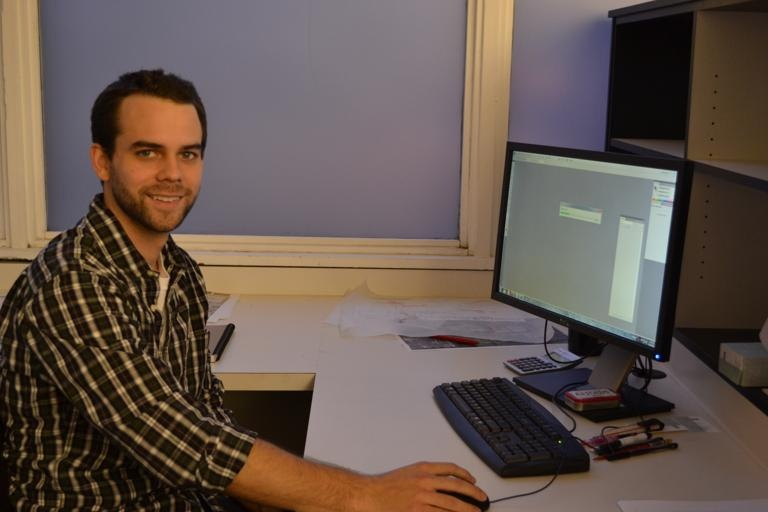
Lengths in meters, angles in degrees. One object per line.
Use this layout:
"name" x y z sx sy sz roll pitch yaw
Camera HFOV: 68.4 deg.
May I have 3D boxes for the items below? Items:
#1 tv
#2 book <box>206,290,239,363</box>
"tv" 0.549 0.075 1.477 0.282 0.614 0.654 -4 11 -22
"book" -0.539 0.252 1.788 0.101 0.024 0.309 -3 23 2
